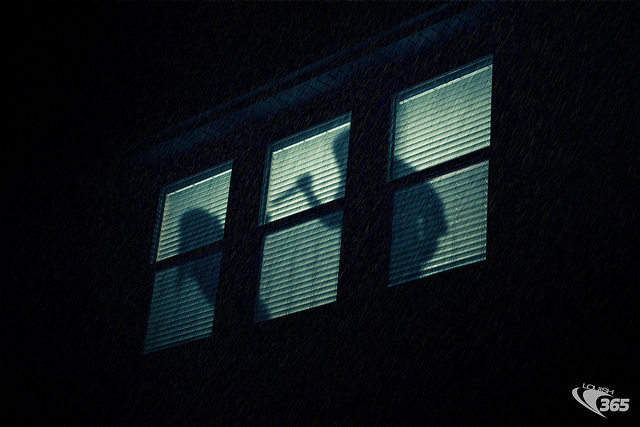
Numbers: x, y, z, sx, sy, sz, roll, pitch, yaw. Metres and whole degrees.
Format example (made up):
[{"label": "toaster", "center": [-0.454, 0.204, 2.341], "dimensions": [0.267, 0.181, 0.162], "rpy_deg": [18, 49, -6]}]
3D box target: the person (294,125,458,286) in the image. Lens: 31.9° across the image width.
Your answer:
[{"label": "person", "center": [0.788, -0.166, 11.262], "dimensions": [1.624, 1.513, 0.371], "rpy_deg": [8, -10, 40]}]
